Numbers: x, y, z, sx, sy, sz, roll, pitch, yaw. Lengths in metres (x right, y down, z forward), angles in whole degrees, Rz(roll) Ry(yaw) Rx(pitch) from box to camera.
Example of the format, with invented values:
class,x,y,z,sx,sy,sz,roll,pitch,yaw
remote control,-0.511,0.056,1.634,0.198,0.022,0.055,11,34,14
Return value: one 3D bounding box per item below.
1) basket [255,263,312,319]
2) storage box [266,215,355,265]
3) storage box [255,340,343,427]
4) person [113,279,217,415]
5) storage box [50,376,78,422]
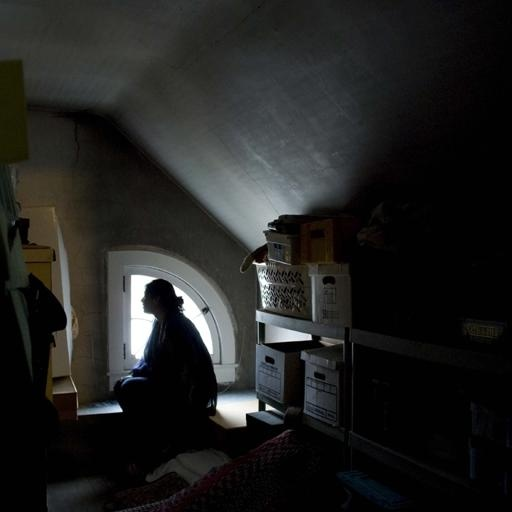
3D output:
class,x,y,z,sx,sy,sz,roll,pitch,yaw
basket,0.204,0.180,2.598,0.261,0.229,0.408,4,-2,-43
storage box,0.224,-0.070,2.377,0.164,0.247,0.567,2,-6,-34
storage box,0.212,0.594,2.449,0.227,0.312,0.436,3,1,-30
person,-0.561,0.661,3.017,0.493,0.979,0.453,4,-6,-13
storage box,-0.891,0.662,2.406,0.116,0.131,0.238,-1,9,-9
